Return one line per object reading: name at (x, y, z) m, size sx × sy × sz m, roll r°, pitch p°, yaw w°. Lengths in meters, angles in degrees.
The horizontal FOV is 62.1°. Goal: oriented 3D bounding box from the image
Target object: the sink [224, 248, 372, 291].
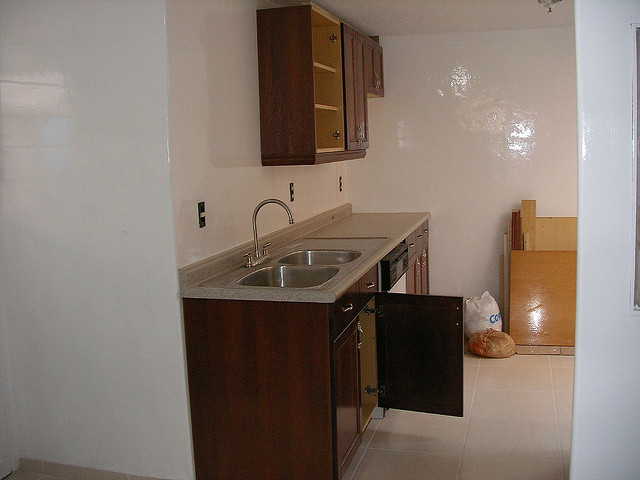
sink at (-0.068, 0.152, 2.665) m, size 0.503 × 0.184 × 0.834 m, roll 0°, pitch 2°, yaw 18°
